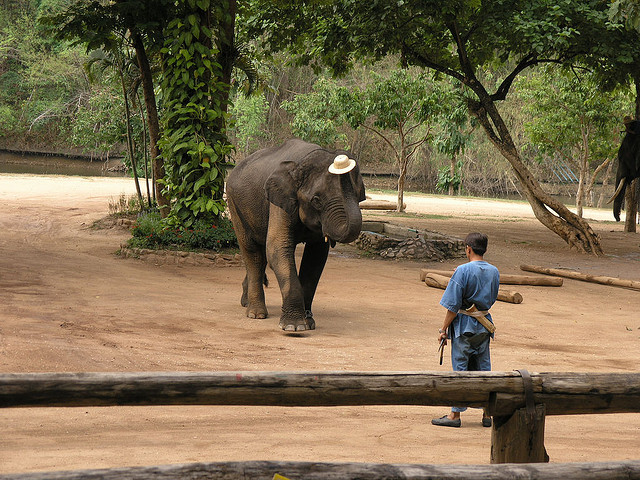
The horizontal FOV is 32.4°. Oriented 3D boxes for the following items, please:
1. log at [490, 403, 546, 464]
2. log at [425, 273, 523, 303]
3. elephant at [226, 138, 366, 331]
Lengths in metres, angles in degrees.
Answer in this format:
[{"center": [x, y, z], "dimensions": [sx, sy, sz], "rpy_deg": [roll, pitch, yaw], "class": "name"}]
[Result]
[{"center": [3.611, 3.549, 20.033], "dimensions": [0.968, 1.124, 0.311], "rpy_deg": [0, 6, 10], "class": "log"}, {"center": [3.828, 1.207, 27.686], "dimensions": [2.641, 0.594, 0.449], "rpy_deg": [2, 6, 29], "class": "log"}, {"center": [-0.510, -0.133, 24.577], "dimensions": [3.259, 4.207, 1.435], "rpy_deg": [4, 8, 42], "class": "elephant"}]
